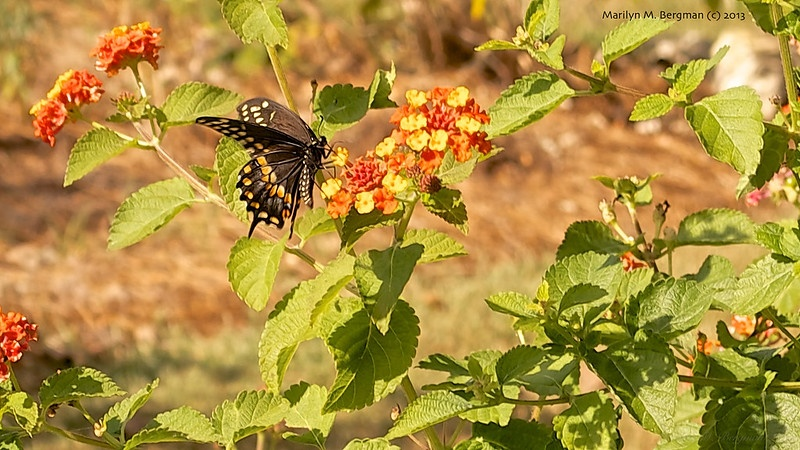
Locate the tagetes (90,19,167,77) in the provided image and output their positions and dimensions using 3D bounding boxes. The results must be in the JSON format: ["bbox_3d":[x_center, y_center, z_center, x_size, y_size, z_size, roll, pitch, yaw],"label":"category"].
[{"bbox_3d":[-3.239,-1.994,14.382,0.661,0.443,0.686,7,39,46],"label":"tagetes"}]

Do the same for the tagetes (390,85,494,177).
[{"bbox_3d":[0.478,-1.108,13.883,1.081,0.606,0.817,-13,50,-3],"label":"tagetes"}]

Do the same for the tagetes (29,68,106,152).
[{"bbox_3d":[-3.863,-1.305,14.400,0.899,0.832,0.505,-31,52,-18],"label":"tagetes"}]
